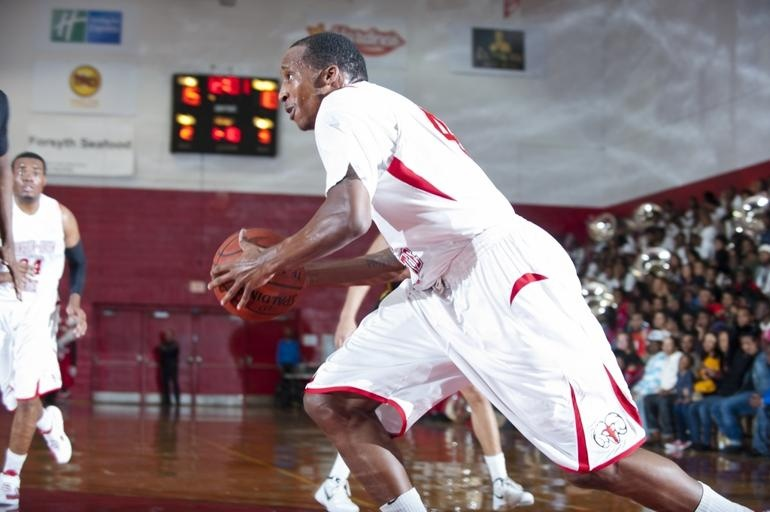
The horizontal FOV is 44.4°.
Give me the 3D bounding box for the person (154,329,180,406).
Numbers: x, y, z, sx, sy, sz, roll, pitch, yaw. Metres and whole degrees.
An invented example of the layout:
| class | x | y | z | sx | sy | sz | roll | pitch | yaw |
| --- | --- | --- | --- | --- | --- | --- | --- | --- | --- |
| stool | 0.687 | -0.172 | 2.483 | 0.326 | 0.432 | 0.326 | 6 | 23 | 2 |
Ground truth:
| class | x | y | z | sx | sy | sz | roll | pitch | yaw |
| --- | --- | --- | --- | --- | --- | --- | --- | --- | --- |
| person | -4.265 | 2.170 | 18.604 | 0.497 | 1.432 | 0.322 | 1 | -1 | -11 |
